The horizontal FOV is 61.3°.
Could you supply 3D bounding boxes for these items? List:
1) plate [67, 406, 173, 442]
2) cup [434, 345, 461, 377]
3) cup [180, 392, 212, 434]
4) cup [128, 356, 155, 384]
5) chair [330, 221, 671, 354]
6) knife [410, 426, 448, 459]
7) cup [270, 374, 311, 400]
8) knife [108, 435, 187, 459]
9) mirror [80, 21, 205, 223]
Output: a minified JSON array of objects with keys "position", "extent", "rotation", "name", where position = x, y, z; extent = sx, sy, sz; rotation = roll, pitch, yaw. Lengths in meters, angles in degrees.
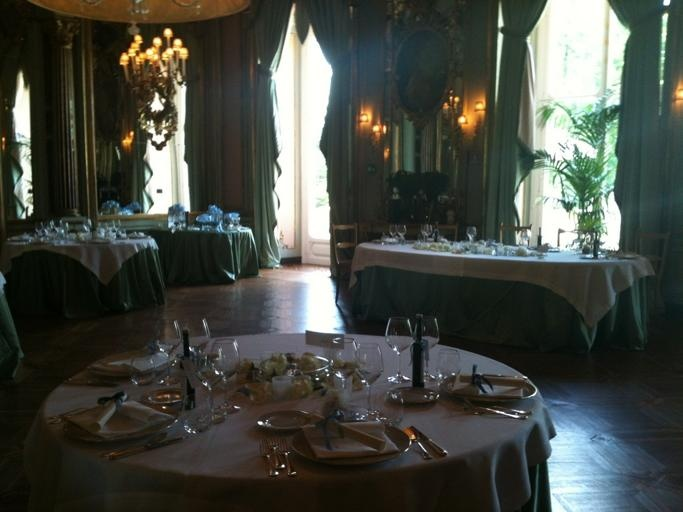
[{"position":[-0.865,0.636,2.216],"extent":[0.195,0.063,0.205],"rotation":[4,-1,-36],"name":"plate"},{"position":[0.463,0.449,2.515],"extent":[0.098,0.134,0.109],"rotation":[0,-1,-2],"name":"cup"},{"position":[-0.553,0.598,2.262],"extent":[0.119,0.139,0.124],"rotation":[-2,0,0],"name":"cup"},{"position":[-0.865,0.480,2.489],"extent":[0.094,0.121,0.102],"rotation":[1,-2,0],"name":"cup"},{"position":[1.540,0.370,5.764],"extent":[2.830,0.959,0.704],"rotation":[6,13,24],"name":"chair"},{"position":[0.314,0.694,2.198],"extent":[0.052,0.023,0.179],"rotation":[-14,9,-9],"name":"knife"},{"position":[-0.201,0.533,2.421],"extent":[0.126,0.069,0.098],"rotation":[3,-4,-27],"name":"cup"},{"position":[-0.731,0.706,2.145],"extent":[0.219,0.036,0.030],"rotation":[-7,18,-42],"name":"knife"},{"position":[-3.377,-2.170,9.542],"extent":[0.455,2.841,1.884],"rotation":[8,14,34],"name":"mirror"}]
